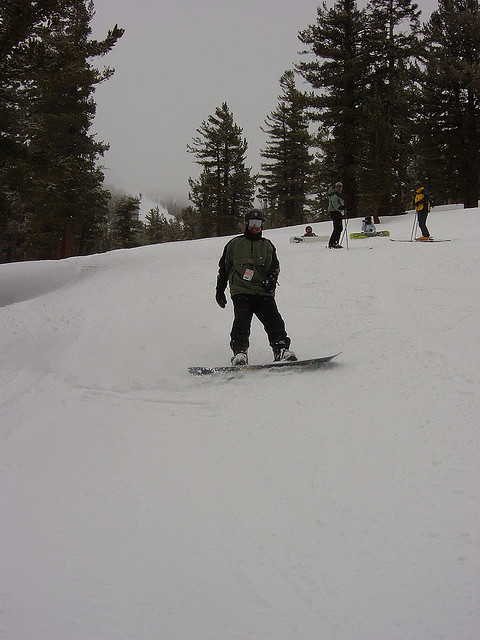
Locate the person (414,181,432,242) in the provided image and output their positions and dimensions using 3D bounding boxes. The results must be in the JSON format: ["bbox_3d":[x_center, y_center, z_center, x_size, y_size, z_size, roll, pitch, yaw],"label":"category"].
[{"bbox_3d":[4.127,-2.392,13.068,0.406,1.265,2.324,4,13,17],"label":"person"}]

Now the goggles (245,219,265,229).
[{"bbox_3d":[0.156,-0.988,6.005,0.177,0.099,0.197,0,13,0],"label":"goggles"}]

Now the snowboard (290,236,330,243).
[{"bbox_3d":[1.963,-2.241,16.363,1.045,0.146,0.639,2,13,7],"label":"snowboard"}]

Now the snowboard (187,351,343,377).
[{"bbox_3d":[0.280,0.434,5.654,1.023,0.129,0.093,-4,42,-8],"label":"snowboard"}]
